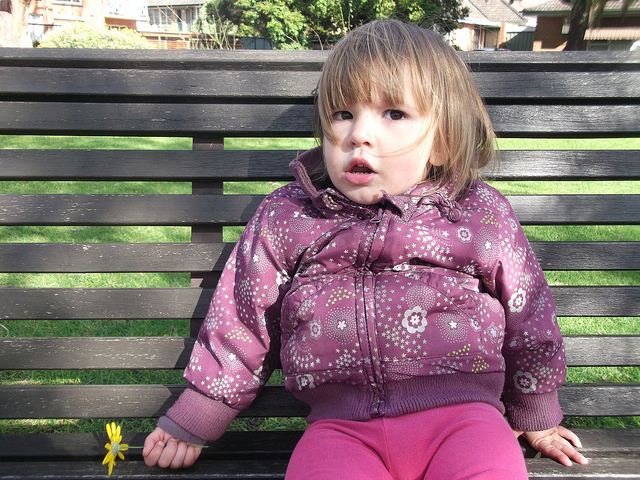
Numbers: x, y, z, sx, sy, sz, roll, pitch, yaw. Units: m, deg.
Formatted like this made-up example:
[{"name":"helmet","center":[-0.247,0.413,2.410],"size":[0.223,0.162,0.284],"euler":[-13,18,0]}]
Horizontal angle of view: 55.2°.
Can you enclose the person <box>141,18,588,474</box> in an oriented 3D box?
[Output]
[{"name":"person","center":[0.222,0.055,1.611],"size":[1.072,1.204,0.803],"euler":[11,23,21]}]
